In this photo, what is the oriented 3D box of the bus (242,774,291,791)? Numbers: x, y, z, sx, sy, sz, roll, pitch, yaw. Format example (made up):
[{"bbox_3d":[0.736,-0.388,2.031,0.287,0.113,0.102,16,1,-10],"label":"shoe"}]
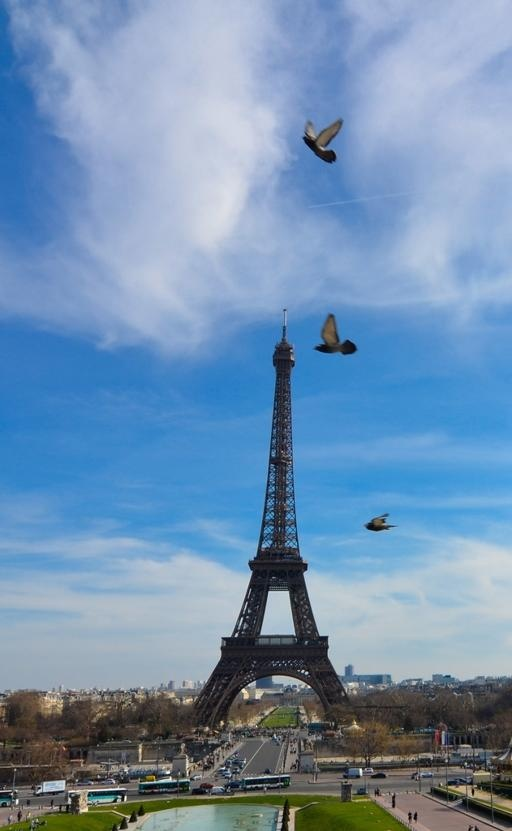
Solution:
[{"bbox_3d":[1.064,36.458,92.717,5.909,1.583,1.659,3,-18,-8],"label":"bus"}]

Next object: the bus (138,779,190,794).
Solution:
[{"bbox_3d":[-8.935,37.060,93.286,4.830,1.293,3.591,-10,-21,22],"label":"bus"}]

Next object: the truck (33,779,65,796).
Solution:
[{"bbox_3d":[-20.443,37.407,93.705,3.573,1.612,1.240,0,-4,-19],"label":"truck"}]
